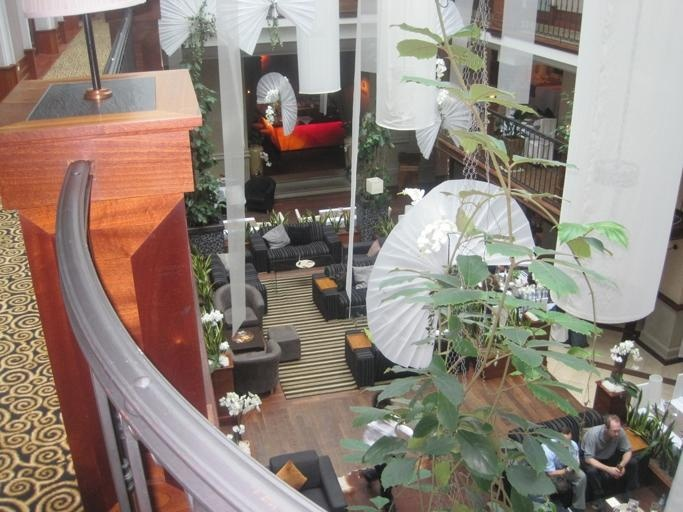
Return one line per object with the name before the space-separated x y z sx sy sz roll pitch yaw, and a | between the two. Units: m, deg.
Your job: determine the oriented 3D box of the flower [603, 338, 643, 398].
flower | 4.359 1.796 7.609 0.590 0.868 0.583 13 1 38
